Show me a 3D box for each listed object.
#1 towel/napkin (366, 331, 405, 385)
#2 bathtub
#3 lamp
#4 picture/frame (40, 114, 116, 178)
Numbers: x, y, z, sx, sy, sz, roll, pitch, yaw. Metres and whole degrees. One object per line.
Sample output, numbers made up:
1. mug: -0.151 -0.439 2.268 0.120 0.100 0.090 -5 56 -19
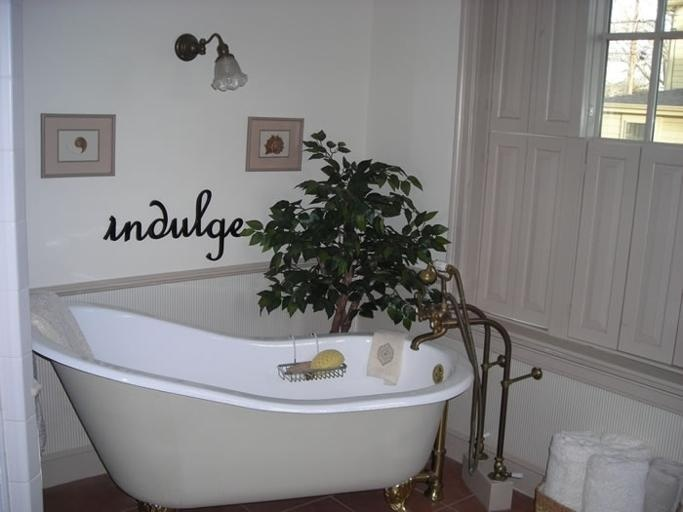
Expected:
1. towel/napkin: 0.223 0.502 2.657 0.162 0.266 0.063 10 5 26
2. bathtub: -0.376 0.631 2.436 1.724 0.799 0.819 -2 13 -14
3. lamp: -0.733 -1.111 2.932 0.350 0.222 0.173 10 9 -12
4. picture/frame: -1.309 -0.552 2.614 0.297 0.295 0.034 -2 12 -31
